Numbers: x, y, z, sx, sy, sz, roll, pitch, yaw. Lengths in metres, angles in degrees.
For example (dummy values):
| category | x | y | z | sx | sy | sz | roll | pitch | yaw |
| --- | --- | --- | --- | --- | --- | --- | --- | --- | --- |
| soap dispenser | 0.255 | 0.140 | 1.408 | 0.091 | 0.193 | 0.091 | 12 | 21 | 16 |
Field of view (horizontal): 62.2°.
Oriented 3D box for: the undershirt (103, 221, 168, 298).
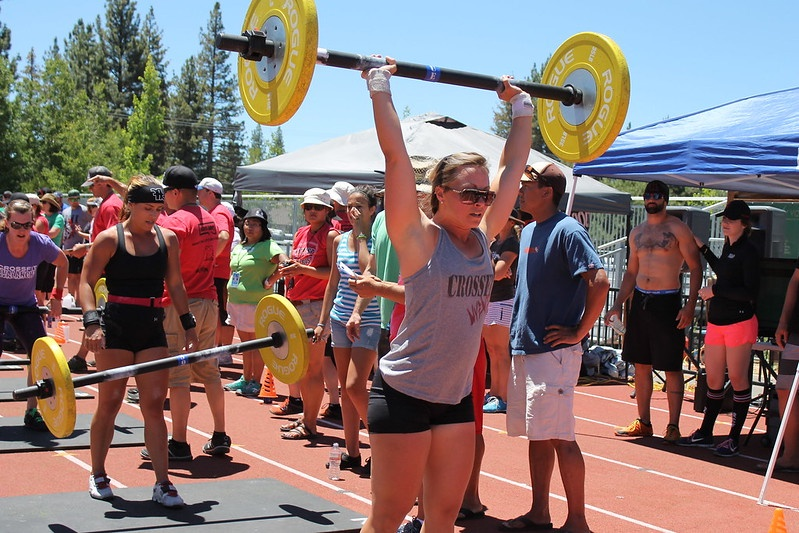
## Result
| category | x | y | z | sx | sy | sz | roll | pitch | yaw |
| --- | --- | --- | --- | --- | --- | --- | --- | --- | --- |
| undershirt | -2.528 | -0.033 | 6.492 | 0.528 | 0.754 | 0.429 | 0 | 5 | -42 |

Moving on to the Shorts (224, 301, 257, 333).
| category | x | y | z | sx | sy | sz | roll | pitch | yaw |
| --- | --- | --- | --- | --- | --- | --- | --- | --- | --- |
| Shorts | -2.405 | 0.774 | 10.132 | 0.551 | 0.551 | 0.337 | 5 | 0 | 19 |

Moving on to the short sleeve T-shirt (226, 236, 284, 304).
| category | x | y | z | sx | sy | sz | roll | pitch | yaw |
| --- | --- | --- | --- | --- | --- | --- | --- | --- | --- |
| short sleeve T-shirt | -2.331 | 0.095 | 10.318 | 1.060 | 1.092 | 0.612 | -1 | -11 | 25 |

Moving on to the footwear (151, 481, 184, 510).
| category | x | y | z | sx | sy | sz | roll | pitch | yaw |
| --- | --- | --- | --- | --- | --- | --- | --- | --- | --- |
| footwear | -2.145 | 2.145 | 6.186 | 0.151 | 0.175 | 0.354 | 0 | 0 | -41 |

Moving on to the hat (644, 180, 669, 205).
| category | x | y | z | sx | sy | sz | roll | pitch | yaw |
| --- | --- | --- | --- | --- | --- | --- | --- | --- | --- |
| hat | 3.583 | -1.037 | 9.304 | 0.252 | 0.384 | 0.290 | -1 | 6 | 11 |

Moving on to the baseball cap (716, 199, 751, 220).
| category | x | y | z | sx | sy | sz | roll | pitch | yaw |
| --- | --- | --- | --- | --- | --- | --- | --- | --- | --- |
| baseball cap | 4.507 | -0.748 | 9.010 | 0.354 | 0.226 | 0.244 | 8 | 4 | -3 |

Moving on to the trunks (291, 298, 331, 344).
| category | x | y | z | sx | sy | sz | roll | pitch | yaw |
| --- | --- | --- | --- | --- | --- | --- | --- | --- | --- |
| trunks | -1.192 | 0.705 | 8.516 | 0.522 | 0.699 | 0.361 | -4 | -3 | 7 |

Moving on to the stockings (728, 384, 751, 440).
| category | x | y | z | sx | sy | sz | roll | pitch | yaw |
| --- | --- | --- | --- | --- | --- | --- | --- | --- | --- |
| stockings | 4.512 | 1.980 | 8.840 | 0.167 | 0.494 | 0.141 | 7 | -10 | -3 |

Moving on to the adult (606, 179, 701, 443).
| category | x | y | z | sx | sy | sz | roll | pitch | yaw |
| --- | --- | --- | --- | --- | --- | --- | --- | --- | --- |
| adult | 3.576 | 0.635 | 9.302 | 1.060 | 2.654 | 0.592 | 6 | 4 | 25 |

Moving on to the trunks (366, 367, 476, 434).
| category | x | y | z | sx | sy | sz | roll | pitch | yaw |
| --- | --- | --- | --- | --- | --- | --- | --- | --- | --- |
| trunks | 0.230 | 0.867 | 4.467 | 0.582 | 0.397 | 0.329 | 4 | 6 | 4 |

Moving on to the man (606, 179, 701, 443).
| category | x | y | z | sx | sy | sz | roll | pitch | yaw |
| --- | --- | --- | --- | --- | --- | --- | --- | --- | --- |
| man | 3.577 | 0.634 | 9.304 | 1.060 | 2.654 | 0.595 | 6 | 4 | 25 |

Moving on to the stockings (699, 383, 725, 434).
| category | x | y | z | sx | sy | sz | roll | pitch | yaw |
| --- | --- | --- | --- | --- | --- | --- | --- | --- | --- |
| stockings | 4.299 | 2.031 | 9.222 | 0.261 | 0.553 | 0.446 | 6 | 4 | 28 |

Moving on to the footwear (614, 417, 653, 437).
| category | x | y | z | sx | sy | sz | roll | pitch | yaw |
| --- | --- | --- | --- | --- | --- | --- | --- | --- | --- |
| footwear | 3.320 | 2.315 | 9.453 | 0.572 | 0.272 | 0.217 | 0 | 2 | 2 |

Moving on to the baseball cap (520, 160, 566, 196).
| category | x | y | z | sx | sy | sz | roll | pitch | yaw |
| --- | --- | --- | --- | --- | --- | --- | --- | --- | --- |
| baseball cap | 1.399 | -0.849 | 6.372 | 0.390 | 0.220 | 0.294 | 30 | 8 | -6 |

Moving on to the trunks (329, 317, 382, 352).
| category | x | y | z | sx | sy | sz | roll | pitch | yaw |
| --- | --- | --- | --- | --- | --- | --- | --- | --- | --- |
| trunks | -0.471 | 0.648 | 7.089 | 0.483 | 0.375 | 0.290 | -3 | -6 | 45 |

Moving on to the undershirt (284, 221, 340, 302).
| category | x | y | z | sx | sy | sz | roll | pitch | yaw |
| --- | --- | --- | --- | --- | --- | --- | --- | --- | --- |
| undershirt | -1.135 | 0.038 | 8.721 | 0.811 | 1.255 | 0.620 | 3 | -2 | 43 |

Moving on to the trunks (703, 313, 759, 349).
| category | x | y | z | sx | sy | sz | roll | pitch | yaw |
| --- | --- | --- | --- | --- | --- | --- | --- | --- | --- |
| trunks | 4.431 | 0.974 | 8.910 | 0.412 | 0.423 | 0.570 | 10 | -10 | -38 |

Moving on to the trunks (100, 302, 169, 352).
| category | x | y | z | sx | sy | sz | roll | pitch | yaw |
| --- | --- | --- | --- | --- | --- | --- | --- | --- | --- |
| trunks | -2.517 | 0.618 | 6.445 | 0.634 | 0.516 | 0.455 | 1 | -2 | -7 |
